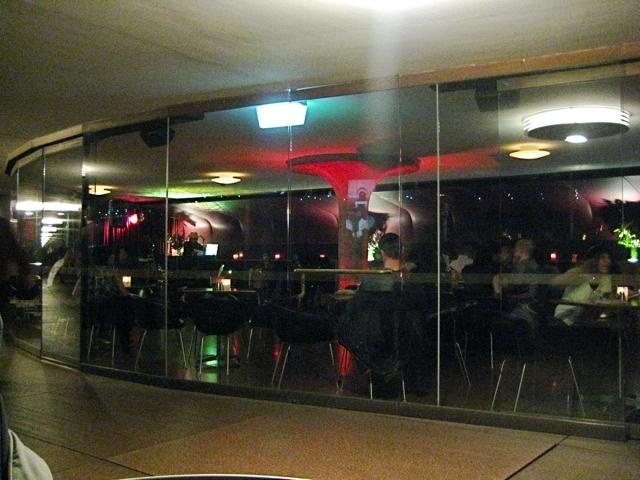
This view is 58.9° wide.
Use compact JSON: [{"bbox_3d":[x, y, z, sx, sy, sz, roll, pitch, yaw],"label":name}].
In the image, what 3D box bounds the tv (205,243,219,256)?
[{"bbox_3d":[-1.180,0.097,6.166,0.163,0.136,0.034,-1,-4,30],"label":"tv"}]
